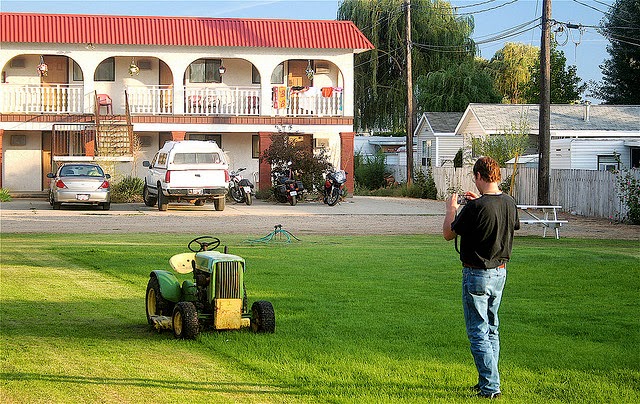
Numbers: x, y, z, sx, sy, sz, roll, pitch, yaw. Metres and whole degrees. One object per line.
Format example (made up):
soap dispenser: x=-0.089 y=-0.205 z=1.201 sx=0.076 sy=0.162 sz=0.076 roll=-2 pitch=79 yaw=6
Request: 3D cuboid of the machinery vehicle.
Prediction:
machinery vehicle: x=-2.209 y=1.647 z=16.160 sx=2.564 sy=1.788 sz=1.060 roll=4 pitch=10 yaw=17

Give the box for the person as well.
person: x=2.741 y=1.239 z=14.274 sx=1.088 sy=3.961 sz=0.990 roll=3 pitch=9 yaw=13

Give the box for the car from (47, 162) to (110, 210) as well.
car: x=-9.486 y=-0.587 z=33.256 sx=2.328 sy=1.738 sz=1.893 roll=-1 pitch=10 yaw=-11

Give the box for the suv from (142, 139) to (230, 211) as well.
suv: x=-5.368 y=-1.235 z=33.557 sx=2.228 sy=1.950 sz=3.892 roll=0 pitch=8 yaw=-16

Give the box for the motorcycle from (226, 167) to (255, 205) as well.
motorcycle: x=-3.412 y=-0.512 z=37.159 sx=0.940 sy=1.156 sz=1.842 roll=-1 pitch=11 yaw=-16

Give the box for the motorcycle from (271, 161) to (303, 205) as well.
motorcycle: x=-1.427 y=-0.751 z=37.367 sx=1.206 sy=1.749 sz=2.372 roll=-1 pitch=10 yaw=-7
